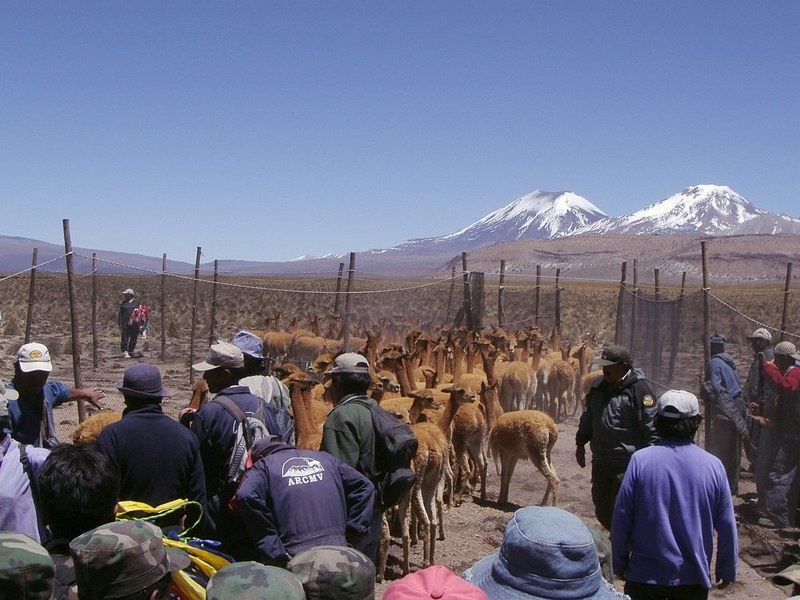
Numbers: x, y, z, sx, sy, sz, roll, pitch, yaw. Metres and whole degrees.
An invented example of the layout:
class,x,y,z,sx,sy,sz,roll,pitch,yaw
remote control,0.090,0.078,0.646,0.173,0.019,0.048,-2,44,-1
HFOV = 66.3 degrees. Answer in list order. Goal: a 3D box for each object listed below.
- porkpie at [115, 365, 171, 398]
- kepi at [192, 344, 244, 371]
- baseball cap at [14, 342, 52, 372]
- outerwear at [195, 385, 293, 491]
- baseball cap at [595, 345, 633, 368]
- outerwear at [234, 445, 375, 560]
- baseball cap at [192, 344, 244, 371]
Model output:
class,x,y,z,sx,sy,sz,roll,pitch,yaw
porkpie,-1.971,0.604,4.659,0.323,0.123,0.274,7,8,-2
kepi,-1.578,0.509,5.320,0.348,0.177,0.239,0,-1,-11
baseball cap,-3.103,0.493,5.164,0.236,0.275,0.265,3,-1,-34
outerwear,-1.225,1.082,4.727,0.713,0.840,0.462,3,-11,-44
baseball cap,2.178,0.559,6.186,0.290,0.158,0.213,3,3,8
outerwear,-0.620,1.299,3.978,0.791,0.558,0.943,8,36,-18
baseball cap,-1.576,0.499,5.322,0.348,0.177,0.239,0,-1,-11
